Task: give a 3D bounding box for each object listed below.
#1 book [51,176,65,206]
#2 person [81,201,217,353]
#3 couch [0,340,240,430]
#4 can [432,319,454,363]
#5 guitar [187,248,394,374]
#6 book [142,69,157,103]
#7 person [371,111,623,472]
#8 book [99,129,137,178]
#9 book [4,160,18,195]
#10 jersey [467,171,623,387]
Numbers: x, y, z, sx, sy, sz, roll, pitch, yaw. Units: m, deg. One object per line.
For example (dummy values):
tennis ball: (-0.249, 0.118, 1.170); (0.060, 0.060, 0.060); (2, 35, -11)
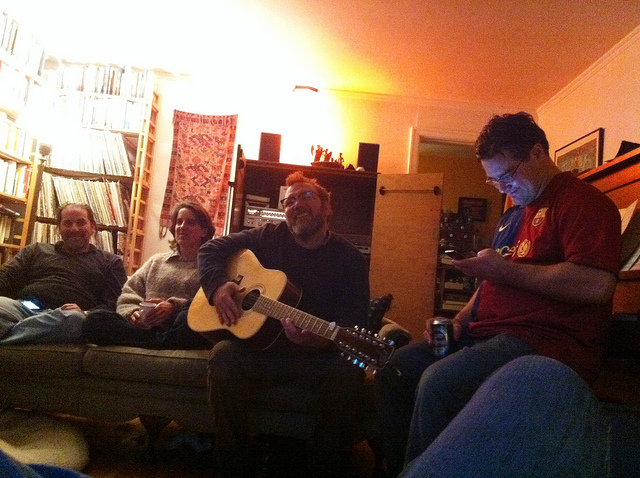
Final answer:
book: (-2.344, -0.442, 4.008); (0.060, 0.232, 0.237); (-6, 6, -32)
person: (-0.908, 0.193, 2.477); (0.792, 0.803, 0.809); (3, -2, -26)
couch: (-0.987, 0.668, 2.089); (1.330, 0.419, 0.311); (-1, 0, 12)
can: (0.443, 0.362, 1.600); (0.109, 0.132, 0.108); (-5, -11, 26)
guitar: (-0.154, 0.305, 1.858); (0.863, 0.405, 0.141); (19, -19, 31)
book: (-1.618, -1.447, 4.230); (0.064, 0.265, 0.151); (0, 19, -40)
person: (0.642, 0.249, 1.539); (0.713, 1.305, 0.549); (6, 1, -8)
book: (-1.877, -0.780, 4.126); (0.414, 0.389, 0.103); (2, 4, -18)
book: (-2.532, -0.504, 3.654); (0.083, 0.212, 0.233); (11, 20, -25)
jersey: (0.739, 0.081, 1.515); (0.301, 0.724, 0.495); (6, 1, -30)
